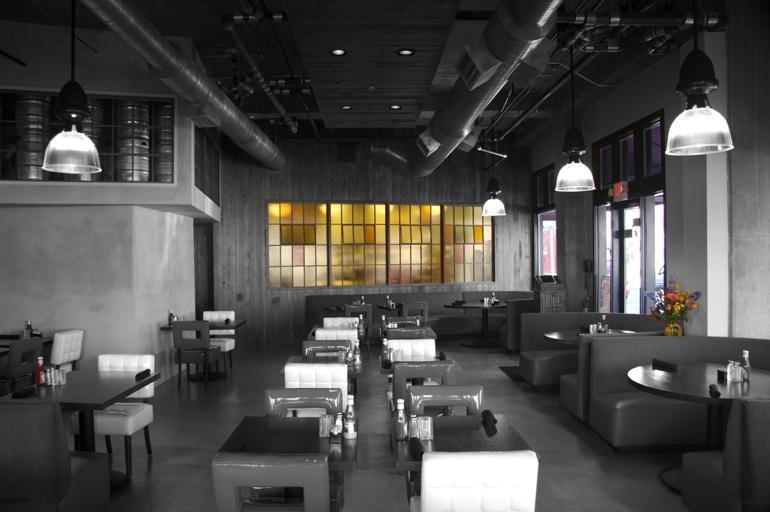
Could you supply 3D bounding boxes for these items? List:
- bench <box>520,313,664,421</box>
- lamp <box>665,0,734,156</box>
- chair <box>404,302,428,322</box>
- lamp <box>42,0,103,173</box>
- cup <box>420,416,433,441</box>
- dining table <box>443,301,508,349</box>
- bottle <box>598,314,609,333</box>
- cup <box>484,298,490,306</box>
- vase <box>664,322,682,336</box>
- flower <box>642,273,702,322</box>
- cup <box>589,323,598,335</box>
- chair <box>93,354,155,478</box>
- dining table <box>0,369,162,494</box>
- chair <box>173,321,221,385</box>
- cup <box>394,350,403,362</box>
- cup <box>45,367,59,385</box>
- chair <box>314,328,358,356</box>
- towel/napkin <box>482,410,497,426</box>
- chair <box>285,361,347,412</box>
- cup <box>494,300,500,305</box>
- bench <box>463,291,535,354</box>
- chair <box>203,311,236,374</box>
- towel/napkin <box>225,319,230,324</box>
[{"bbox_3d":[3.003,1.523,10.276,1.344,1.320,2.034,2,-4,-4],"label":"bench"},{"bbox_3d":[3.348,-1.910,6.724,0.570,1.758,1.245,-2,-3,28],"label":"lamp"},{"bbox_3d":[0.645,1.104,12.647,0.387,0.377,0.389,0,-5,-2],"label":"chair"},{"bbox_3d":[-3.915,-2.277,7.870,0.562,2.656,1.882,1,-3,-28],"label":"lamp"},{"bbox_3d":[0.402,1.651,6.076,0.119,0.206,0.135,-1,-3,3],"label":"cup"},{"bbox_3d":[1.992,1.412,13.532,1.057,0.677,1.061,0,-2,-3],"label":"dining table"},{"bbox_3d":[3.471,1.066,9.969,0.176,0.323,0.177,-1,1,0],"label":"bottle"},{"bbox_3d":[2.156,0.956,13.304,0.134,0.252,0.136,0,6,0],"label":"cup"},{"bbox_3d":[3.918,0.997,8.611,0.218,0.212,0.222,-4,-3,44],"label":"vase"},{"bbox_3d":[3.989,0.631,8.491,0.652,0.432,0.565,-18,-5,34],"label":"flower"},{"bbox_3d":[3.143,1.092,9.473,0.139,0.156,0.137,0,2,0],"label":"cup"},{"bbox_3d":[-3.307,1.960,7.741,0.764,1.280,0.831,0,3,-4],"label":"chair"},{"bbox_3d":[-3.482,2.185,7.263,1.198,1.130,1.532,0,2,0],"label":"dining table"},{"bbox_3d":[-3.212,1.663,10.171,0.667,1.120,0.812,0,14,6],"label":"chair"},{"bbox_3d":[0.179,1.268,8.143,0.135,0.125,0.060,-1,-3,2],"label":"cup"},{"bbox_3d":[-3.899,1.410,7.355,0.158,0.175,0.159,-1,-2,0],"label":"cup"},{"bbox_3d":[-0.704,1.282,9.118,0.453,0.313,0.261,1,7,6],"label":"chair"},{"bbox_3d":[1.041,1.615,6.296,0.124,0.161,0.115,-4,-24,-7],"label":"towel/napkin"},{"bbox_3d":[-0.768,1.337,6.972,0.803,0.567,0.434,0,-4,0],"label":"chair"},{"bbox_3d":[2.372,0.962,13.349,0.095,0.066,0.136,0,0,6],"label":"cup"},{"bbox_3d":[2.438,1.326,13.365,1.370,1.190,2.598,-1,-3,7],"label":"bench"},{"bbox_3d":[-3.136,1.607,11.610,0.561,0.877,0.707,11,-16,-29],"label":"chair"},{"bbox_3d":[-2.995,1.230,11.951,0.081,0.080,0.088,-4,-4,33],"label":"towel/napkin"}]
